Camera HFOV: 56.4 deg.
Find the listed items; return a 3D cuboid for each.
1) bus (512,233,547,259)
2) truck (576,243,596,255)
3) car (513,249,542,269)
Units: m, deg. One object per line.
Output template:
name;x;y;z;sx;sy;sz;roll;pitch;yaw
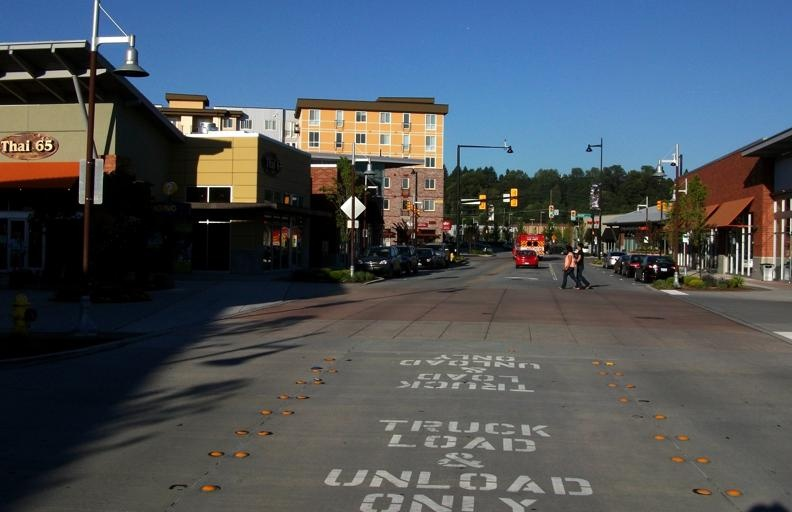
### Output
bus;13.733;-0.327;75.426;3.526;3.124;5.768;1;3;7
truck;26.041;-1.018;99.830;2.053;1.653;3.465;0;-5;16
car;10.374;0.197;58.188;1.617;1.516;1.851;3;7;25
